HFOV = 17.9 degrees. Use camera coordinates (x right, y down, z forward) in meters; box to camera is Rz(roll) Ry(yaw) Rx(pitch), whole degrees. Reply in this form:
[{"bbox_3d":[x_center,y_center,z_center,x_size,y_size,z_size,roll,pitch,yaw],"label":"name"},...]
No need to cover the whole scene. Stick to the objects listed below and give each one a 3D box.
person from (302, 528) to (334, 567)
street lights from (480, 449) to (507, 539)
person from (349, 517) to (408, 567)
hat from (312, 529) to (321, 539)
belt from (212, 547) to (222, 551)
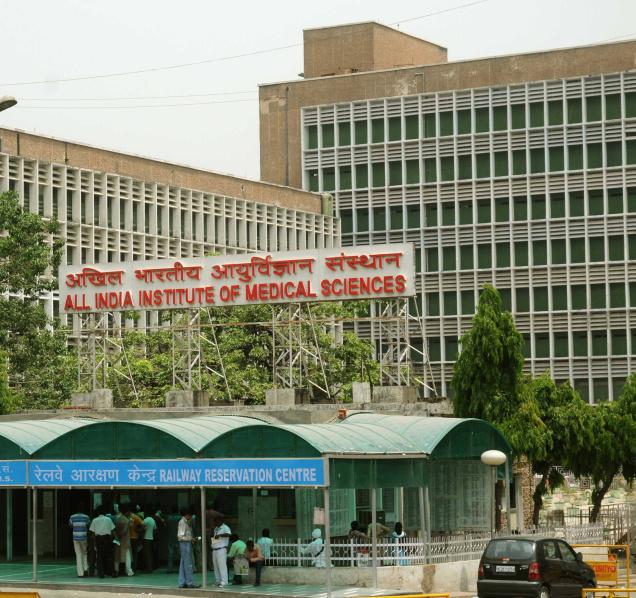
[{"bbox_3d":[-0.168,7.044,58.021,0.647,1.136,0.743,-8,14,-17],"label":"person"},{"bbox_3d":[5.171,5.664,59.067,0.739,2.604,0.774,-4,-3,23],"label":"street lights"},{"bbox_3d":[1.787,6.875,57.822,1.138,1.012,1.240,1,-2,-8],"label":"person"},{"bbox_3d":[-0.062,6.684,58.075,0.227,0.349,0.094,1,5,10],"label":"hat"},{"bbox_3d":[-2.876,6.987,57.192,0.240,0.103,0.079,-3,-8,15],"label":"belt"}]
